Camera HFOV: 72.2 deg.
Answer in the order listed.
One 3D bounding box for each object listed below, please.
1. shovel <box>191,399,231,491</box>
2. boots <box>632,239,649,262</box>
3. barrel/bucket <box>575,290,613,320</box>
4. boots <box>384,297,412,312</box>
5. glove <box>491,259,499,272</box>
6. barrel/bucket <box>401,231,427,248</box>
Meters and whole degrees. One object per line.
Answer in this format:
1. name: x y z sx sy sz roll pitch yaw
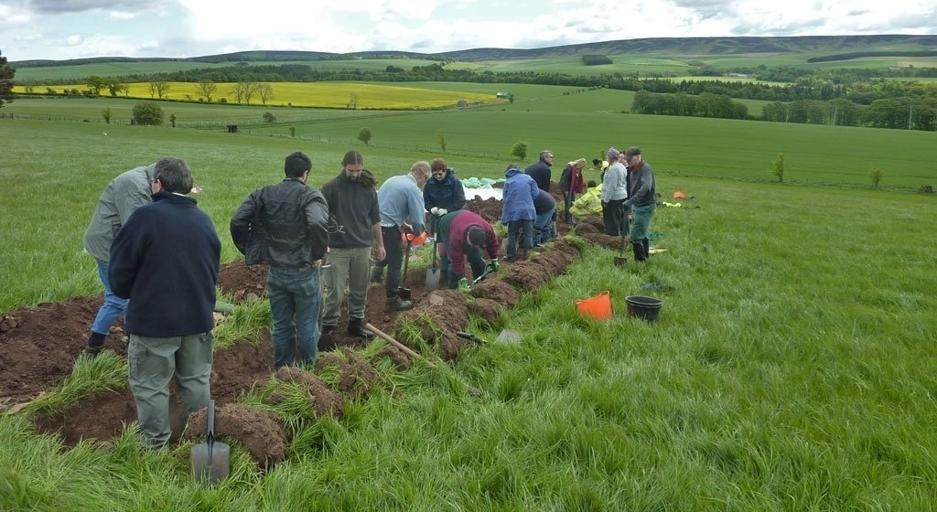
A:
1. shovel: -4.032 3.067 10.292 0.539 1.081 0.538 11 18 32
2. boots: 4.479 -0.155 16.657 0.557 0.637 0.252 -10 8 -28
3. barrel/bucket: 2.651 1.023 13.617 0.778 0.682 0.458 3 19 6
4. boots: -1.560 1.106 14.771 0.712 0.295 0.244 -3 12 -3
5. glove: 0.673 0.227 15.040 0.187 0.313 0.232 -6 -11 -7
6. barrel/bucket: -1.306 -0.462 17.544 0.467 0.279 0.548 -4 13 -26
